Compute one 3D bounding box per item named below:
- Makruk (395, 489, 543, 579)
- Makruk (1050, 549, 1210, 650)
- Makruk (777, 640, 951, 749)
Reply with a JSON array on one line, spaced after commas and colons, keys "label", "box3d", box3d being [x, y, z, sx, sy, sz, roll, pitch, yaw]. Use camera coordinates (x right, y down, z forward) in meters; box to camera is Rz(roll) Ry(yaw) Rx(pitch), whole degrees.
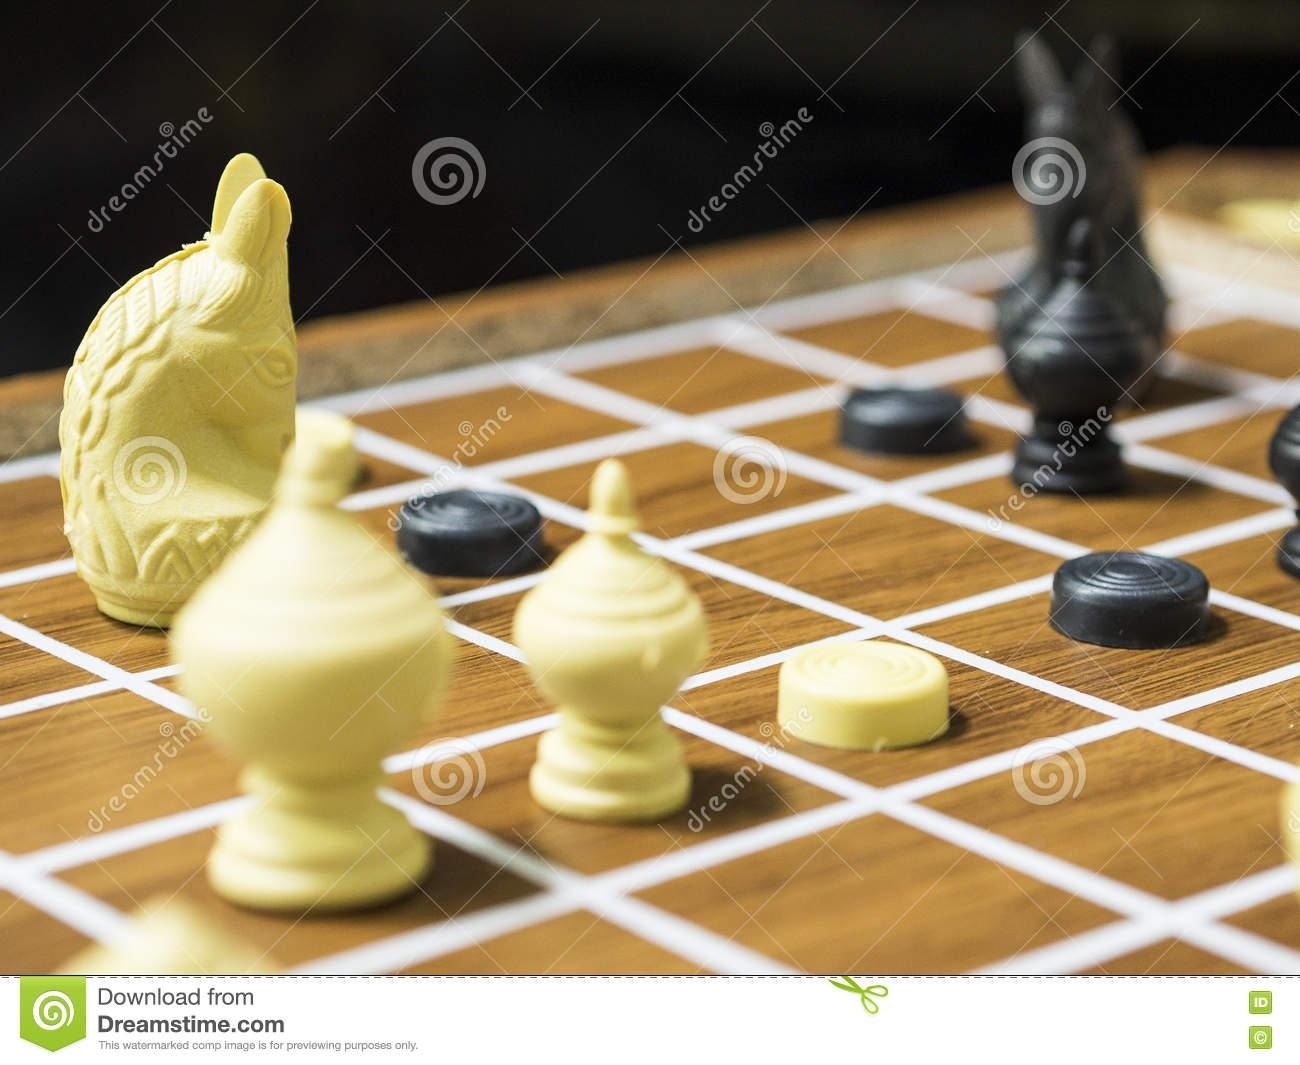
[{"label": "Makruk", "box3d": [-0.240, 0.002, 1.855, 0.192, 0.055, 0.144, 2, 12, 0]}, {"label": "Makruk", "box3d": [0.609, 0.069, 1.759, 0.203, 0.056, 0.158, -13, 28, -10]}, {"label": "Makruk", "box3d": [0.226, 0.161, 1.528, 0.200, 0.049, 0.144, -1, 27, 1]}]
